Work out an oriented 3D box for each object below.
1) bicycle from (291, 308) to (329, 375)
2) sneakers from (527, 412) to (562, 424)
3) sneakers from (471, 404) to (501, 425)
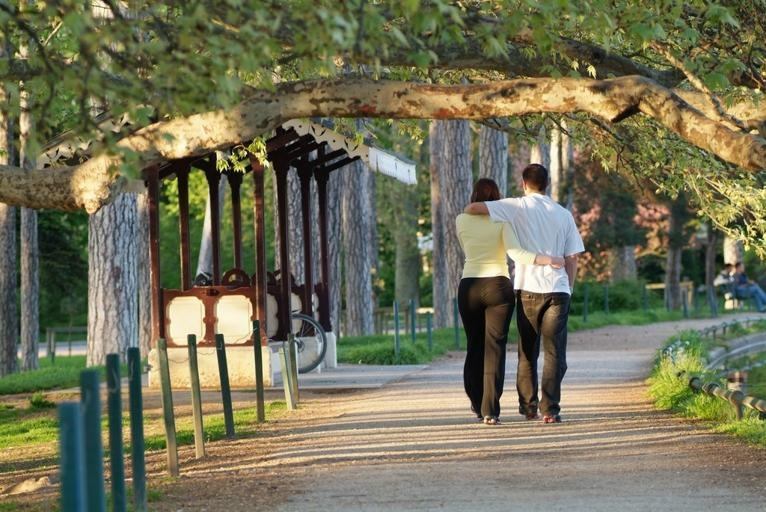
[{"bbox_3d":[-1.328,1.488,31.580,0.651,1.110,0.689,-3,-3,-9],"label":"bicycle"},{"bbox_3d":[2.359,2.343,25.910,0.477,0.224,0.183,7,-3,29],"label":"sneakers"},{"bbox_3d":[1.500,2.361,26.092,0.162,0.251,0.558,2,-14,-13],"label":"sneakers"}]
